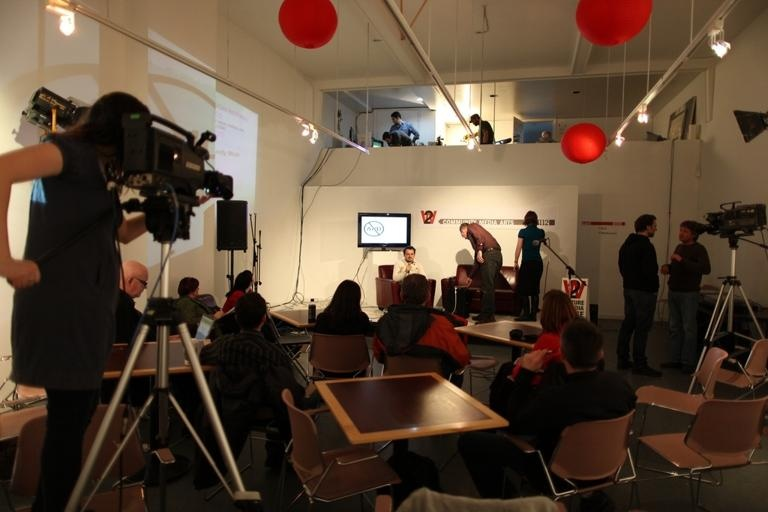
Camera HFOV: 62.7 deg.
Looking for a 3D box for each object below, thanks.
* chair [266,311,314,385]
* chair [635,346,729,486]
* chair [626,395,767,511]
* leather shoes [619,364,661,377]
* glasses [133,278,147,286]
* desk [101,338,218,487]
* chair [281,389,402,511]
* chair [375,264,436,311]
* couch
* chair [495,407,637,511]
[{"bbox_3d":[-1.035,1.031,7.083,0.549,0.808,0.573,-1,3,-7],"label":"chair"},{"bbox_3d":[2.683,1.349,5.852,0.710,1.098,0.590,4,9,21],"label":"chair"},{"bbox_3d":[2.621,1.601,5.120,0.832,1.062,0.761,-1,3,-35],"label":"chair"},{"bbox_3d":[3.247,1.415,8.022,0.493,0.227,0.179,-2,-4,34],"label":"leather shoes"},{"bbox_3d":[-2.395,0.262,6.262,0.073,0.069,0.179,-11,17,-24],"label":"glasses"},{"bbox_3d":[-1.444,0.863,4.138,0.656,0.936,0.605,-1,-6,-13],"label":"desk"},{"bbox_3d":[-0.360,1.622,5.194,0.858,1.218,0.886,-3,6,-22],"label":"chair"},{"bbox_3d":[0.338,0.607,11.014,0.708,1.009,0.946,-1,3,-25],"label":"chair"},{"bbox_3d":[1.717,0.557,10.914,1.327,0.992,0.798,0,-8,12],"label":"couch"},{"bbox_3d":[1.448,1.549,5.063,0.770,1.094,0.718,-7,20,-7],"label":"chair"}]
